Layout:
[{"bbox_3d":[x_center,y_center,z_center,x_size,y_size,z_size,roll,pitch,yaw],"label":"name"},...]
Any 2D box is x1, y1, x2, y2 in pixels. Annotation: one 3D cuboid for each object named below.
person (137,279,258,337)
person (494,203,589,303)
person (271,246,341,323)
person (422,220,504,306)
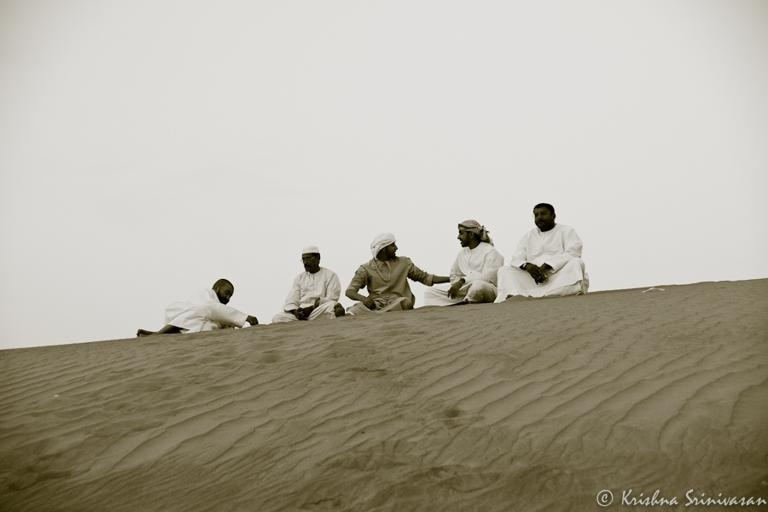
[{"bbox_3d":[-2.814,0.985,9.096,1.306,0.588,0.884,-11,-2,-17],"label":"person"},{"bbox_3d":[2.695,0.195,9.680,1.130,1.363,1.023,-14,-36,30],"label":"person"},{"bbox_3d":[-1.354,0.482,10.737,1.043,1.397,1.120,0,-7,-9],"label":"person"},{"bbox_3d":[1.510,0.107,10.551,1.230,1.596,0.990,-2,-7,11],"label":"person"}]
